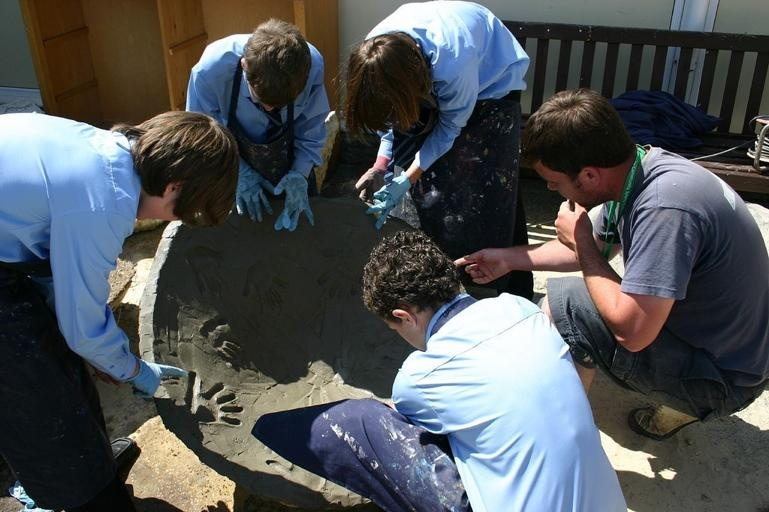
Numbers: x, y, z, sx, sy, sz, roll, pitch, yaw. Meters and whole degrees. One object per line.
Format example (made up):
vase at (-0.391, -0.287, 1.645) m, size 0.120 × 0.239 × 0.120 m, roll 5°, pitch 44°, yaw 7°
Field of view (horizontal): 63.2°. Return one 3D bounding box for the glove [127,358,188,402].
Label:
glove at (-1.025, 0.555, 2.843) m, size 0.061 × 0.146 × 0.199 m, roll 3°, pitch -15°, yaw 39°

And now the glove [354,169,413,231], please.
glove at (0.014, -0.329, 3.501) m, size 0.127 × 0.277 × 0.346 m, roll 10°, pitch 57°, yaw 52°

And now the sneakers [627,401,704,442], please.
sneakers at (1.433, 0.849, 3.194) m, size 0.322 × 0.203 × 0.126 m, roll -8°, pitch -16°, yaw 22°

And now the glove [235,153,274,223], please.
glove at (-0.702, -0.373, 3.335) m, size 0.200 × 0.301 × 0.073 m, roll -17°, pitch -13°, yaw -33°

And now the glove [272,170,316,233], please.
glove at (-0.486, -0.321, 3.388) m, size 0.199 × 0.330 × 0.088 m, roll 7°, pitch -15°, yaw -21°

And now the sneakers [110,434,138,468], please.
sneakers at (-1.317, 0.976, 3.151) m, size 0.104 × 0.077 × 0.201 m, roll 7°, pitch 25°, yaw 0°
